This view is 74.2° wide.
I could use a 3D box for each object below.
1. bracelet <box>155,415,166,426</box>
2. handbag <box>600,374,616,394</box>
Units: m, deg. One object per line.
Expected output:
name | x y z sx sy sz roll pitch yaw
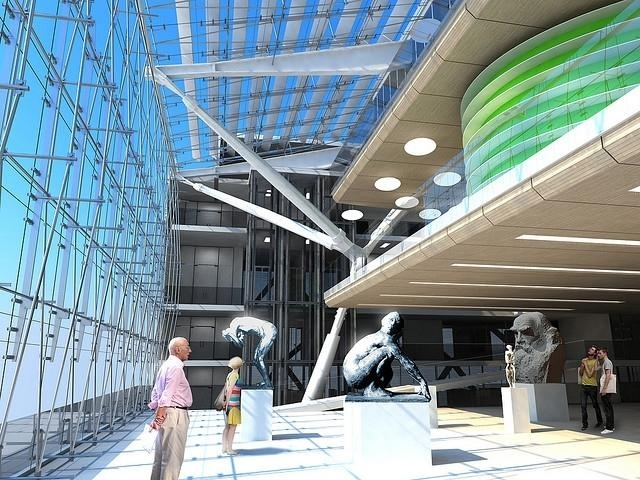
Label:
bracelet | -1.801 2.050 4.764 0.100 0.037 0.096 11 -48 -36
handbag | 7.155 3.608 10.502 0.343 0.464 0.377 -9 -20 27
